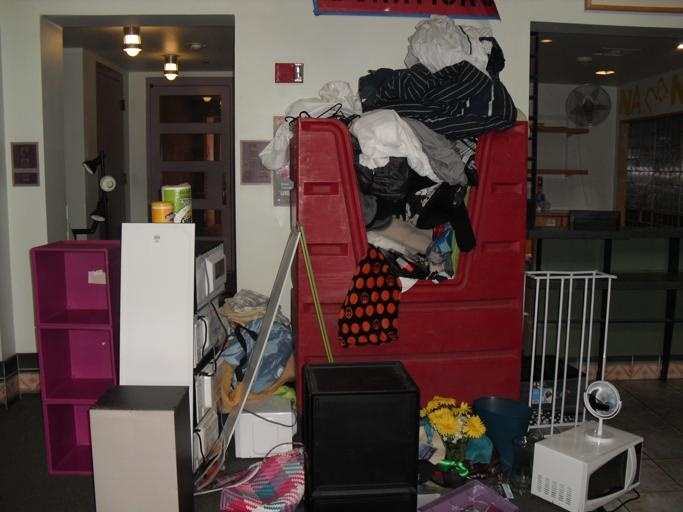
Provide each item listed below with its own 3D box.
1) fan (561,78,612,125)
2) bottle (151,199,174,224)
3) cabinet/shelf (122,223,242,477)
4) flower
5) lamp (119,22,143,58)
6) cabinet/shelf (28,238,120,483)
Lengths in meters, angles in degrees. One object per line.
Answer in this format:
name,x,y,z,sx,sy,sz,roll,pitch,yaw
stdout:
fan,2.606,-1.607,6.508,0.413,0.427,0.266,1,4,26
bottle,-1.055,-0.262,3.619,0.113,0.133,0.119,0,7,-4
cabinet/shelf,-1.031,0.516,3.711,0.497,1.435,0.621,0,4,9
flower,0.699,1.046,3.729,0.441,0.387,0.363,0,4,7
lamp,-1.855,-1.955,5.464,0.135,0.282,0.478,-2,4,-20
cabinet/shelf,-1.565,0.626,3.760,0.485,1.381,0.315,0,4,5
